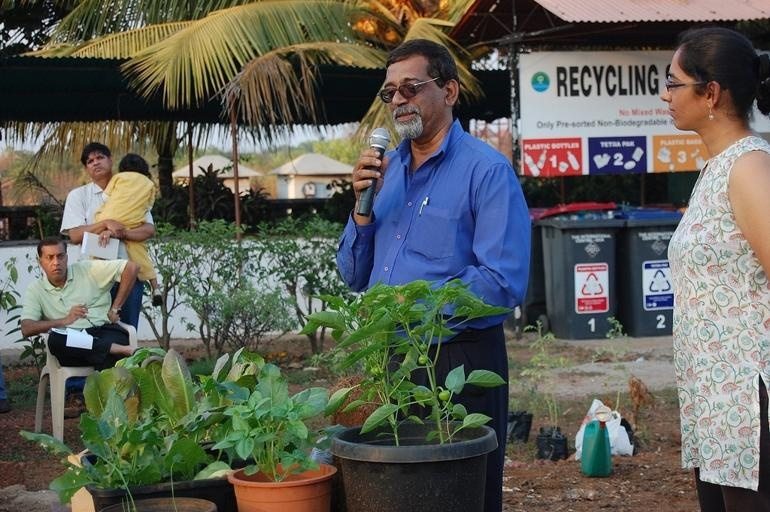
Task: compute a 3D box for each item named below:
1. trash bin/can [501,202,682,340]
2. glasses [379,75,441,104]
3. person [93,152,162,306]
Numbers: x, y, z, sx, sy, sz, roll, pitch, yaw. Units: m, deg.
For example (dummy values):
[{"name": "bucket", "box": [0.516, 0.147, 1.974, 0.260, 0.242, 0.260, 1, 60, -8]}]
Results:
[{"name": "trash bin/can", "box": [2.711, 0.110, 13.749, 2.039, 1.673, 1.610, -1, 3, -17]}, {"name": "glasses", "box": [0.169, -1.192, 7.338, 0.430, 0.163, 0.151, -1, 11, 4]}, {"name": "person", "box": [-2.931, -0.264, 11.519, 0.592, 1.884, 0.544, -1, -25, -8]}]
